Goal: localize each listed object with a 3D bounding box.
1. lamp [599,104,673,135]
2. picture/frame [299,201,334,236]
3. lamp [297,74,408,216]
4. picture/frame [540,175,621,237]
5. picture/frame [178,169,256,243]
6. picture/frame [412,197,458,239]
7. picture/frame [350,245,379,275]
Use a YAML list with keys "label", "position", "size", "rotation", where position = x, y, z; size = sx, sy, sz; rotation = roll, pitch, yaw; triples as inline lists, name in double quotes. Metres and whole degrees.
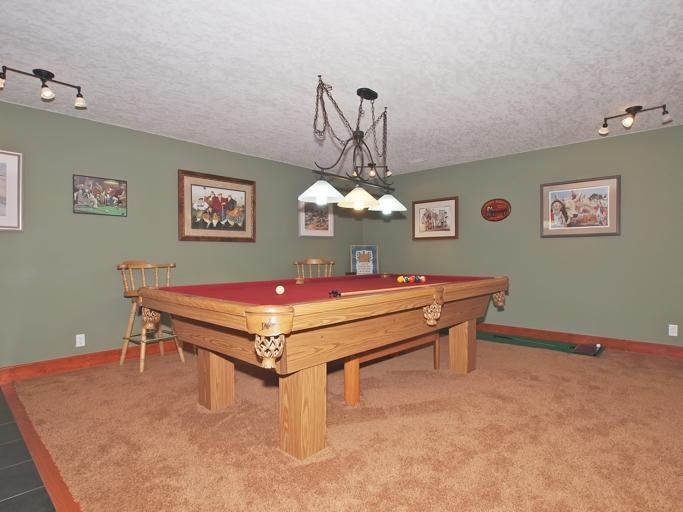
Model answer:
- label: "lamp"
  position: [3.059, -1.417, 4.747]
  size: [0.675, 0.186, 0.164]
  rotation: [-10, 5, 17]
- label: "picture/frame"
  position: [-0.400, -0.548, 6.711]
  size: [0.050, 0.455, 0.541]
  rotation: [-8, -4, 37]
- label: "lamp"
  position: [0.149, -1.206, 4.941]
  size: [0.970, 1.118, 1.104]
  rotation: [13, 16, 21]
- label: "picture/frame"
  position: [3.061, -0.632, 5.736]
  size: [0.849, 0.700, 0.034]
  rotation: [-1, -2, 40]
- label: "picture/frame"
  position: [-1.631, -0.639, 5.786]
  size: [1.042, 0.833, 0.075]
  rotation: [2, -7, -42]
- label: "picture/frame"
  position: [1.456, -0.579, 6.917]
  size: [0.672, 0.554, 0.025]
  rotation: [2, 5, 42]
- label: "picture/frame"
  position: [0.352, 0.068, 7.316]
  size: [0.460, 0.447, 0.059]
  rotation: [-5, -4, -32]
